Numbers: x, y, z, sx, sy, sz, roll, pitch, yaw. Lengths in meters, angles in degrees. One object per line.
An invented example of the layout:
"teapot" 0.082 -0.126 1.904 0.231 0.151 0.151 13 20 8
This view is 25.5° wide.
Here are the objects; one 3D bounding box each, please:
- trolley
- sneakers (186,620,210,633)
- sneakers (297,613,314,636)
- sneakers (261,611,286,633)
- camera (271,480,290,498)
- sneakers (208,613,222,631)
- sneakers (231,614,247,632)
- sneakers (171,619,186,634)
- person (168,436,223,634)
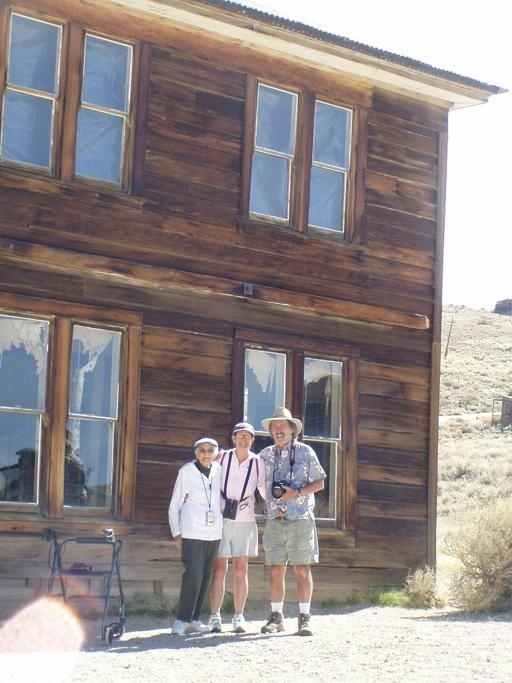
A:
"trolley" -1.296 1.900 8.753 0.623 0.927 0.628 -4 -12 10
"sneakers" -0.458 2.266 9.013 0.157 0.068 0.079 1 -1 -7
"sneakers" 0.397 2.259 9.063 0.123 0.160 0.242 0 -5 2
"sneakers" 0.149 2.272 9.088 0.087 0.127 0.257 -3 -17 24
"camera" 0.199 1.207 9.193 0.130 0.124 0.118 0 -5 1
"sneakers" -0.319 2.253 9.068 0.133 0.176 0.379 3 -12 -4
"sneakers" -0.133 2.276 9.132 0.159 0.200 0.457 0 -13 -1
"sneakers" -0.594 2.237 8.880 0.120 0.110 0.264 1 -5 -2
"person" -0.484 1.549 9.094 0.291 1.527 0.577 -4 -7 44
